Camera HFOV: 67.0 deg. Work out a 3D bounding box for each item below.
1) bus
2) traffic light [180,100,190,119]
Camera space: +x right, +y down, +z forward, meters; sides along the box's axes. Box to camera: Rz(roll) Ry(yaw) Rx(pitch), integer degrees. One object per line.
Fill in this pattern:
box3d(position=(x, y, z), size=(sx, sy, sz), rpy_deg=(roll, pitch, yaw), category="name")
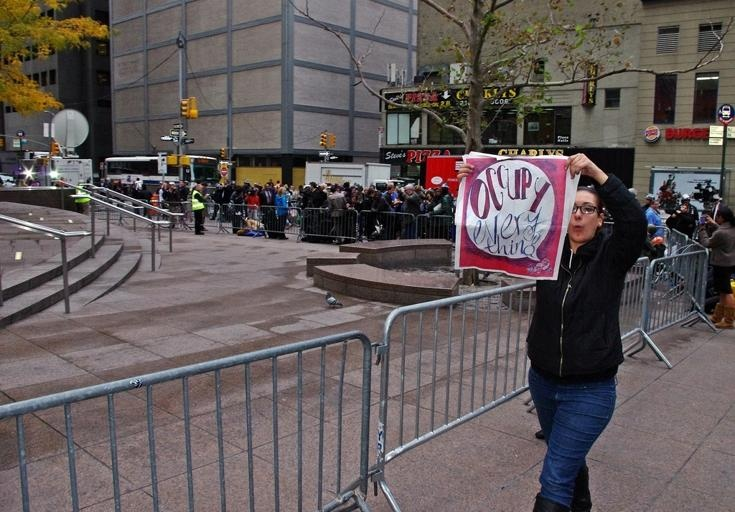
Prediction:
box3d(position=(-17.419, -6.596, 45.575), size=(11.881, 3.439, 3.381), rpy_deg=(6, 10, 34), category="bus")
box3d(position=(-10.543, -8.483, 31.614), size=(0.414, 0.969, 1.199), rpy_deg=(-3, 10, -15), category="traffic light")
